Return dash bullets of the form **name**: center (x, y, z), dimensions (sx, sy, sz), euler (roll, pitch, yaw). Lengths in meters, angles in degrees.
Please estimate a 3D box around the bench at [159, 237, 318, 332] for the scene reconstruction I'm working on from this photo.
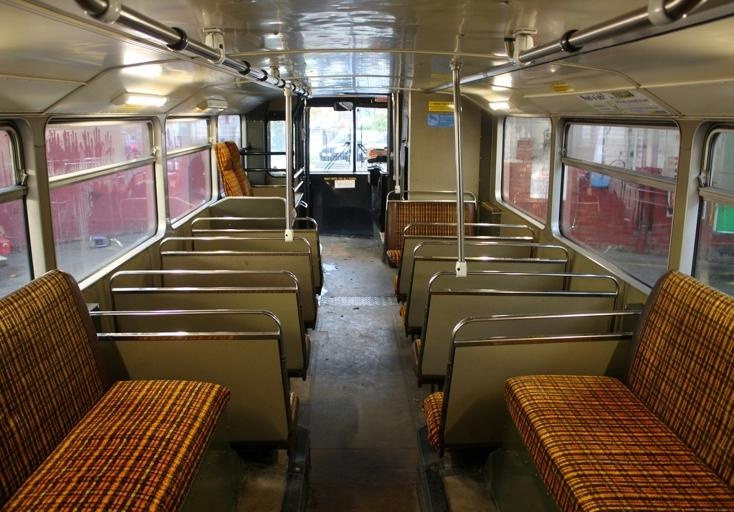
- **bench**: center (-1.307, 0.039, 6.240), dimensions (1.387, 0.889, 1.368), euler (1, 14, -3)

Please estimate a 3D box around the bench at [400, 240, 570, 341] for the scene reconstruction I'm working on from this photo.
- **bench**: center (1.109, 0.312, 4.960), dimensions (1.166, 0.777, 0.447), euler (-1, 18, -4)

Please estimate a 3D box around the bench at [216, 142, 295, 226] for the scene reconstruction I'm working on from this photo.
- **bench**: center (-1.891, -1.206, 8.857), dimensions (1.257, 1.247, 1.053), euler (-2, 21, -11)

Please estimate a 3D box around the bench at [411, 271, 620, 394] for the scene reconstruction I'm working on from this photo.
- **bench**: center (1.128, 0.771, 4.989), dimensions (1.352, 0.805, 1.319), euler (0, 11, -3)

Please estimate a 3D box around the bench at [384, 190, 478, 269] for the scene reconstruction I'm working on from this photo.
- **bench**: center (1.114, -0.703, 8.959), dimensions (1.725, 1.567, 1.298), euler (0, 7, -1)

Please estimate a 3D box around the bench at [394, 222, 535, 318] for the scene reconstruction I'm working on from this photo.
- **bench**: center (1.006, 0.084, 7.165), dimensions (1.449, 0.935, 1.436), euler (0, 18, -3)

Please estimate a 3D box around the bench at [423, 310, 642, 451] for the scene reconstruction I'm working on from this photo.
- **bench**: center (1.161, 0.885, 4.330), dimensions (1.807, 1.040, 0.942), euler (2, 10, -26)

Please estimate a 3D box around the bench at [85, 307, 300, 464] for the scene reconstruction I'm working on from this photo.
- **bench**: center (-1.202, 0.917, 4.132), dimensions (1.573, 1.058, 0.844), euler (-3, 2, 11)
